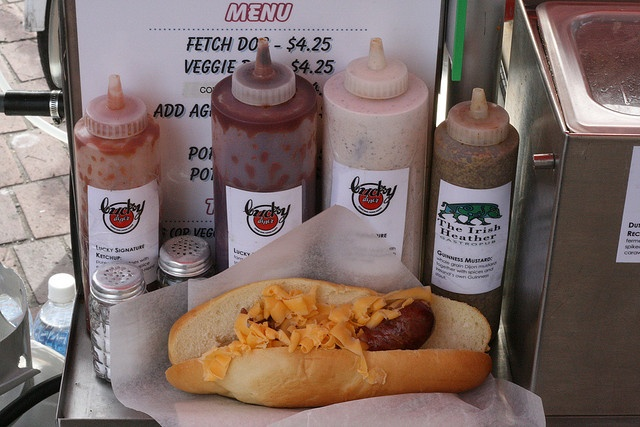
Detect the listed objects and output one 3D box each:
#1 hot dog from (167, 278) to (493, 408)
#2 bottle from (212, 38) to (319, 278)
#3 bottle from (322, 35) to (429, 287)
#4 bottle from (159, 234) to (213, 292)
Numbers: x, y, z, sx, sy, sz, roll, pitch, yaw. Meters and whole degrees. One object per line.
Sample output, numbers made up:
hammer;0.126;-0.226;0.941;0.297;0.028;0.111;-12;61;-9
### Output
hot dog;0.016;0.214;0.983;0.468;0.150;0.236;0;36;0
bottle;-0.102;-0.088;1.037;0.188;0.370;0.210;3;43;10
bottle;0.095;-0.087;1.057;0.183;0.392;0.195;-4;42;3
bottle;-0.236;0.080;1.067;0.083;0.081;0.083;-15;40;-27
